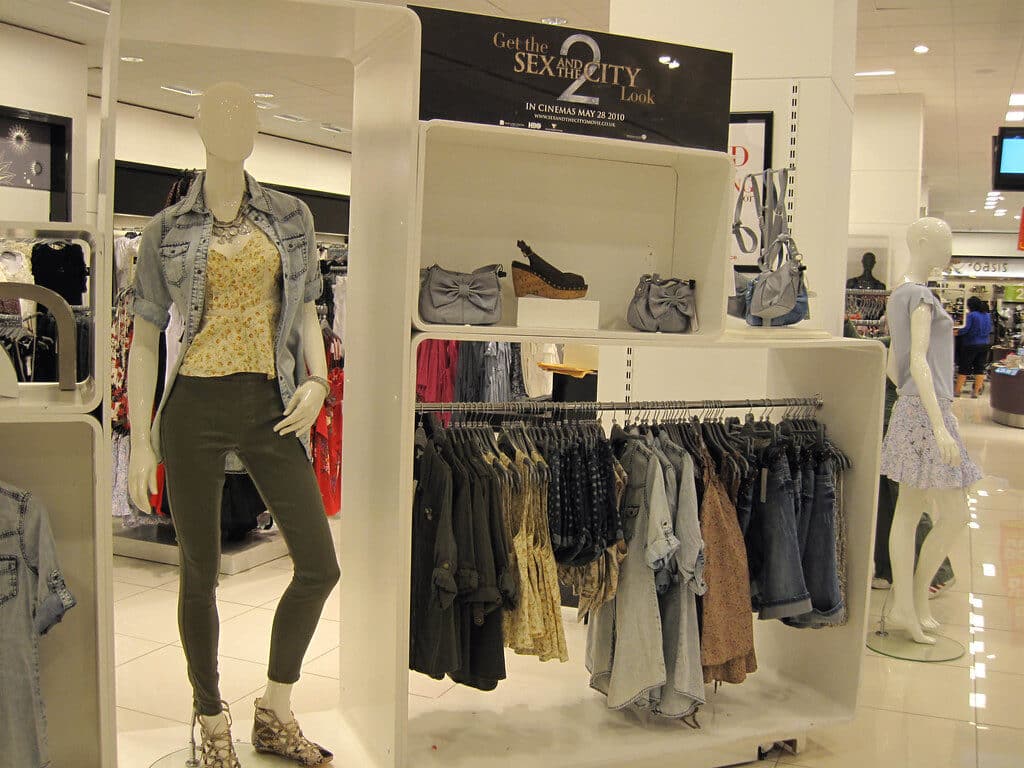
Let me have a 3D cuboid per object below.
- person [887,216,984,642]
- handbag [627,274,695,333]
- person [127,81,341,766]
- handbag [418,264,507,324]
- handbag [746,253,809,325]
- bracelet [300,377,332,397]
[{"bbox_3d":[2.343,0.261,4.423,0.524,2.395,0.905,5,8,31],"label":"person"},{"bbox_3d":[0.619,-0.293,3.329,0.260,0.292,0.218,2,0,-21],"label":"handbag"},{"bbox_3d":[-0.968,0.213,2.738,0.666,2.418,0.355,-2,8,-29],"label":"person"},{"bbox_3d":[-0.196,-0.346,2.970,0.307,0.221,0.180,1,7,-9],"label":"handbag"},{"bbox_3d":[1.170,-0.410,3.435,0.185,0.367,0.297,12,-14,-34],"label":"handbag"},{"bbox_3d":[-0.708,-0.014,2.822,0.085,0.066,0.090,9,-18,33],"label":"bracelet"}]
